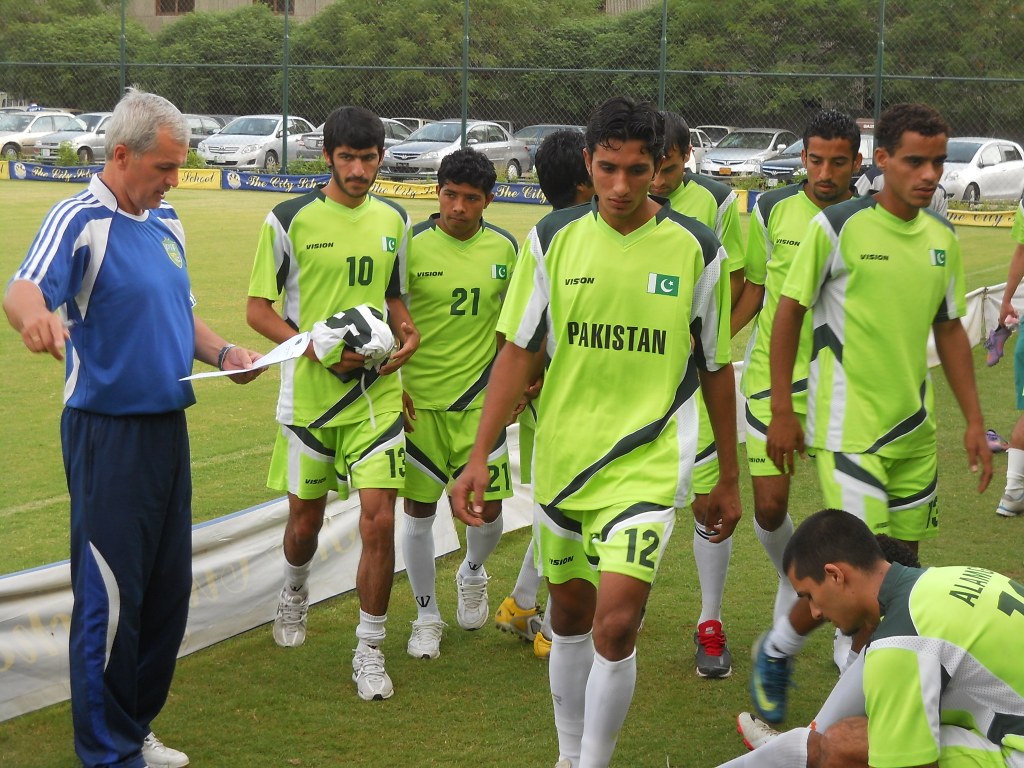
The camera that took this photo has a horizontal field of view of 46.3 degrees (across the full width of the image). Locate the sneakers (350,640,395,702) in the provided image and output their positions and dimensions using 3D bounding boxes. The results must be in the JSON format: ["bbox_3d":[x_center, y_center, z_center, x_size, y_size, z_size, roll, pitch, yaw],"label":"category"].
[{"bbox_3d":[-0.620,1.251,5.287,0.153,0.200,0.444,-1,2,-13],"label":"sneakers"}]

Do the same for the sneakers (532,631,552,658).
[{"bbox_3d":[0.128,1.224,5.631,0.072,0.124,0.120,0,-5,-19],"label":"sneakers"}]

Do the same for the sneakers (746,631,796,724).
[{"bbox_3d":[1.062,1.232,4.971,0.128,0.399,0.175,0,3,-16],"label":"sneakers"}]

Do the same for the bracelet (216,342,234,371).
[{"bbox_3d":[-1.176,-0.114,4.914,0.036,0.106,0.076,11,2,25],"label":"bracelet"}]

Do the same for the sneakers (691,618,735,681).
[{"bbox_3d":[0.914,1.214,5.539,0.162,0.201,0.469,0,5,3],"label":"sneakers"}]

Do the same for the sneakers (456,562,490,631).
[{"bbox_3d":[-0.192,1.044,5.878,0.119,0.360,0.145,0,-26,-5],"label":"sneakers"}]

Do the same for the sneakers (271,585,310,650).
[{"bbox_3d":[-1.042,1.097,5.665,0.113,0.337,0.126,0,-9,-20],"label":"sneakers"}]

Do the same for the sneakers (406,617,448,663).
[{"bbox_3d":[-0.403,1.201,5.613,0.158,0.158,0.381,2,-3,-4],"label":"sneakers"}]
